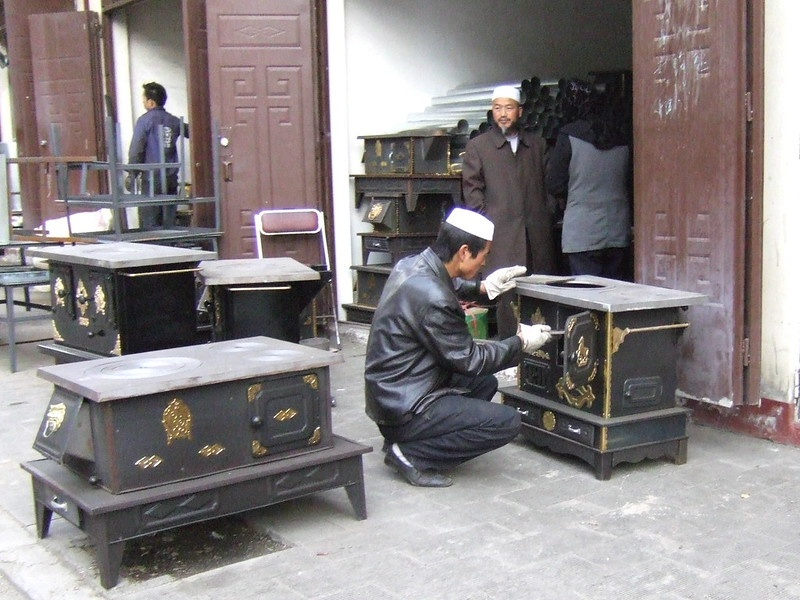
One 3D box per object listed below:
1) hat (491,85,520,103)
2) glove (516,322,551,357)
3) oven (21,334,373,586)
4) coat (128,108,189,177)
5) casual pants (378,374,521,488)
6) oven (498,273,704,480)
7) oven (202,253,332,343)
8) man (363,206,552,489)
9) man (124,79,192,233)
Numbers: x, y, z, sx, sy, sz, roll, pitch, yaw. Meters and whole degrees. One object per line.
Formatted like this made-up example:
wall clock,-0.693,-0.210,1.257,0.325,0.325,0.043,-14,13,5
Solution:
hat,0.889,-1.768,6.233,0.216,0.122,0.217,-3,8,-25
glove,0.741,0.210,4.052,0.175,0.137,0.082,-8,-3,-7
oven,-1.055,0.354,3.377,1.507,0.856,0.935,-7,9,-40
coat,-2.765,-1.822,8.357,0.266,0.760,0.917,12,22,37
casual pants,0.289,0.640,4.151,0.936,0.448,0.829,11,7,-26
oven,1.123,0.434,4.424,0.768,1.019,1.020,-3,7,-23
oven,-0.941,0.086,4.854,0.723,0.720,0.768,1,17,-7
man,0.320,0.265,4.238,0.983,1.561,1.061,3,12,10
man,-2.700,-1.710,8.607,0.812,1.861,0.453,-12,48,-27
